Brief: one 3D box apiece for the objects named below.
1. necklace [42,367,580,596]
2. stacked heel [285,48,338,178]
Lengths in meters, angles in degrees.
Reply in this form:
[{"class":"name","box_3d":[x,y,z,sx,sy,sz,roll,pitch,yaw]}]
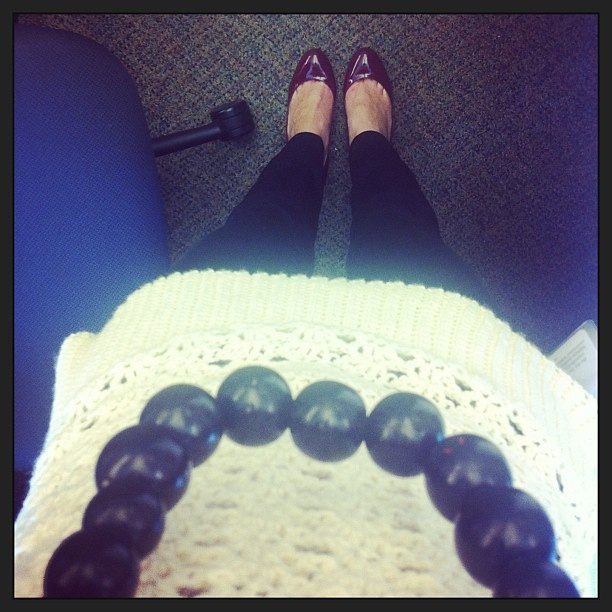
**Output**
[{"class":"necklace","box_3d":[0.025,0.221,0.571,0.580,0.221,0.152,10,-46,1]},{"class":"stacked heel","box_3d":[0.001,-0.444,1.143,0.101,0.085,0.306,-26,-5,-14]}]
